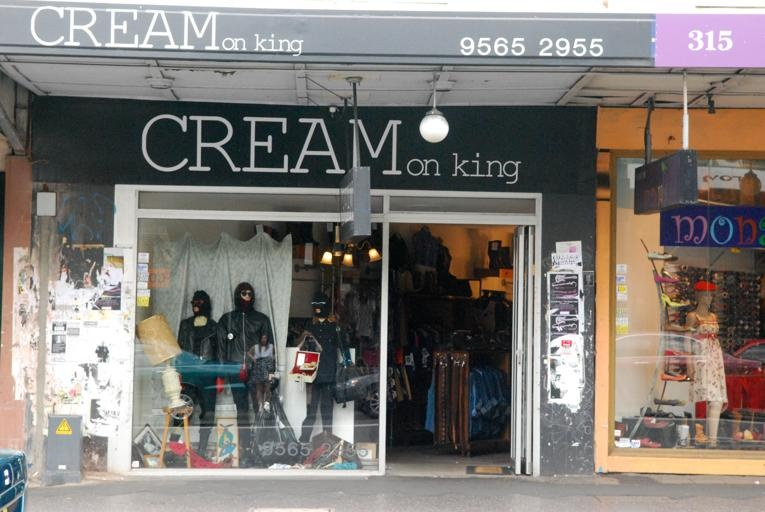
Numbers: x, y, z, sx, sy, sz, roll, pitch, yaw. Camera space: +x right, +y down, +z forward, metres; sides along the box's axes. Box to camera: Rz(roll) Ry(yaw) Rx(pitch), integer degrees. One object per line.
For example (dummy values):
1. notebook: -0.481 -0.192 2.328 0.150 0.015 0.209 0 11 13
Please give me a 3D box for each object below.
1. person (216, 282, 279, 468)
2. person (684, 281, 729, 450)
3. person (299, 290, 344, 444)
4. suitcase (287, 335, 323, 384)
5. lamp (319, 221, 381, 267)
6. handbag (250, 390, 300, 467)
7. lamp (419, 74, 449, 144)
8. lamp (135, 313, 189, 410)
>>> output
1. person: -1.817 1.633 15.115 0.740 2.659 0.733 0 -8 -12
2. person: 4.370 1.448 15.302 0.483 2.186 0.216 -2 -8 6
3. person: -0.821 1.497 15.152 0.515 1.968 0.226 0 -8 -7
4. suitcase: -1.032 1.383 15.197 0.419 0.715 0.438 13 7 2
5. lamp: -0.410 -0.139 15.148 0.812 0.575 0.194 -1 -8 -4
6. handbag: -1.414 2.388 15.081 0.750 1.445 0.675 -1 -7 -12
7. lamp: 0.669 -1.799 14.503 0.327 0.766 0.872 -2 -8 4
8. lamp: -2.943 1.388 15.287 0.651 1.330 0.664 -17 20 -13
